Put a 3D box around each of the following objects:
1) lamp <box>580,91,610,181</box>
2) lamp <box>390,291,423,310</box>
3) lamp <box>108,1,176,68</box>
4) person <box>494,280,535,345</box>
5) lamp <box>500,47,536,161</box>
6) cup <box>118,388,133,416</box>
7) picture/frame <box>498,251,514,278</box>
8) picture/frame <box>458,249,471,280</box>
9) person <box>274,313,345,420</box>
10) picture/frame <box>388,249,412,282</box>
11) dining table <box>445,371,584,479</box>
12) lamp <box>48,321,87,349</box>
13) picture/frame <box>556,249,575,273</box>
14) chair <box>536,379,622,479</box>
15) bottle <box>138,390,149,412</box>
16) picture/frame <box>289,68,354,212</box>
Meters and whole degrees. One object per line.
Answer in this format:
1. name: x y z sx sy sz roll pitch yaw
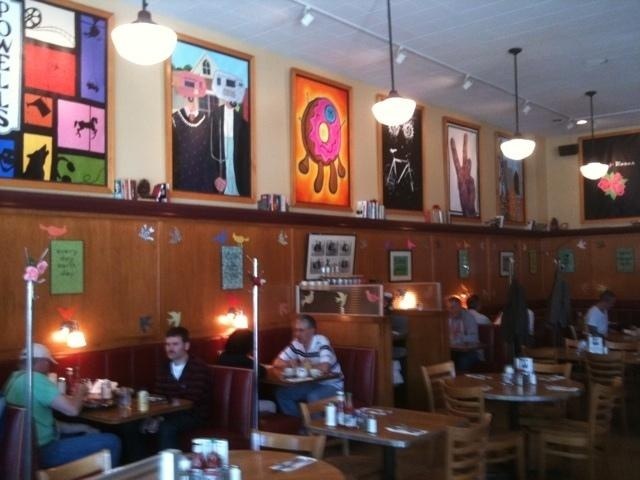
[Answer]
1. lamp: 5.720 -1.993 11.464 0.570 1.185 3.246 -4 -2 27
2. lamp: 1.403 0.981 8.910 0.332 0.343 0.092 12 -7 -10
3. lamp: -1.552 -1.825 4.922 0.516 0.755 0.540 -3 0 -4
4. person: 2.833 1.054 7.981 0.415 0.967 0.288 -3 -3 16
5. lamp: 3.477 -2.039 9.696 0.469 1.596 3.459 -3 -2 20
6. cup: -1.903 1.575 5.366 0.170 0.310 0.170 -1 -3 0
7. picture/frame: 4.060 0.528 12.020 0.047 0.605 0.577 -1 0 43
8. picture/frame: 2.925 0.486 11.194 0.077 0.842 0.589 -2 -3 42
9. person: -0.146 1.762 6.988 0.717 1.536 0.776 -4 -9 35
10. picture/frame: 1.435 0.466 9.816 0.544 0.564 0.027 1 -3 -31
11. dining table: 2.271 1.924 6.157 1.177 0.671 1.186 0 1 -23
12. lamp: -2.667 1.013 5.899 0.353 0.320 0.204 -6 -3 1
13. picture/frame: 5.855 0.501 13.041 0.085 0.890 0.478 6 -7 -36
14. chair: 2.930 2.058 6.111 0.803 1.156 1.565 -4 -2 28
15. bottle: -1.706 1.535 5.276 0.107 0.186 0.226 -2 -2 -19
16. picture/frame: 0.036 -1.563 8.701 1.310 2.077 0.143 0 -3 -44
